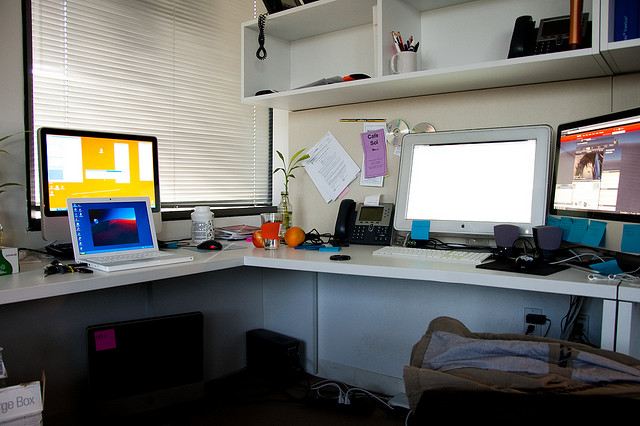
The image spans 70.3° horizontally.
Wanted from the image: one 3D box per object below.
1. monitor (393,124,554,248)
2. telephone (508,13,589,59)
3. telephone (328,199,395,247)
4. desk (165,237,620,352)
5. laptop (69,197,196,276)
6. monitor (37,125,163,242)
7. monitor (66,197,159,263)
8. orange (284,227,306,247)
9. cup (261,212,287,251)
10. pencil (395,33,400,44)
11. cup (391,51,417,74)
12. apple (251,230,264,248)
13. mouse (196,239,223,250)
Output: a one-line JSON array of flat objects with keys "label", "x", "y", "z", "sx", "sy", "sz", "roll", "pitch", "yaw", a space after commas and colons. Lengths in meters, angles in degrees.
[{"label": "monitor", "x": 0.803, "y": -0.129, "z": 2.293, "sx": 0.684, "sy": 0.499, "sz": 0.220, "roll": 0, "pitch": -8, "yaw": 28}, {"label": "telephone", "x": 1.050, "y": -0.799, "z": 2.083, "sx": 0.287, "sy": 0.221, "sz": 0.114, "roll": 7, "pitch": 0, "yaw": 31}, {"label": "telephone", "x": 0.253, "y": 0.044, "z": 2.559, "sx": 0.358, "sy": 0.216, "sz": 0.241, "roll": -1, "pitch": 23, "yaw": 35}, {"label": "desk", "x": 0.381, "y": 0.423, "z": 2.010, "sx": 1.663, "sy": 0.334, "sz": 0.316, "roll": -2, "pitch": -18, "yaw": 25}, {"label": "laptop", "x": -0.865, "y": 0.077, "z": 2.066, "sx": 0.513, "sy": 0.263, "sz": 0.502, "roll": 1, "pitch": 6, "yaw": -22}, {"label": "monitor", "x": -1.088, "y": -0.132, "z": 2.200, "sx": 0.655, "sy": 0.579, "sz": 0.063, "roll": -1, "pitch": -2, "yaw": -39}, {"label": "monitor", "x": -0.904, "y": 0.053, "z": 2.044, "sx": 0.416, "sy": 0.246, "sz": 0.337, "roll": -5, "pitch": 2, "yaw": -26}, {"label": "orange", "x": -0.129, "y": 0.124, "z": 2.374, "sx": 0.102, "sy": 0.104, "sz": 0.101, "roll": 1, "pitch": -9, "yaw": 16}, {"label": "cup", "x": -0.264, "y": 0.092, "z": 2.373, "sx": 0.146, "sy": 0.188, "sz": 0.146, "roll": 0, "pitch": -6, "yaw": 0}, {"label": "pencil", "x": 0.395, "y": -0.885, "z": 2.320, "sx": 0.011, "sy": 0.064, "sz": 0.012, "roll": -26, "pitch": -9, "yaw": -11}, {"label": "cup", "x": 0.420, "y": -0.756, "z": 2.292, "sx": 0.142, "sy": 0.095, "sz": 0.091, "roll": -6, "pitch": 11, "yaw": -33}, {"label": "apple", "x": -0.319, "y": 0.142, "z": 2.367, "sx": 0.086, "sy": 0.090, "sz": 0.081, "roll": -1, "pitch": -1, "yaw": 5}, {"label": "mouse", "x": -0.557, "y": 0.160, "z": 2.302, "sx": 0.098, "sy": 0.043, "sz": 0.100, "roll": -4, "pitch": 7, "yaw": -38}]
